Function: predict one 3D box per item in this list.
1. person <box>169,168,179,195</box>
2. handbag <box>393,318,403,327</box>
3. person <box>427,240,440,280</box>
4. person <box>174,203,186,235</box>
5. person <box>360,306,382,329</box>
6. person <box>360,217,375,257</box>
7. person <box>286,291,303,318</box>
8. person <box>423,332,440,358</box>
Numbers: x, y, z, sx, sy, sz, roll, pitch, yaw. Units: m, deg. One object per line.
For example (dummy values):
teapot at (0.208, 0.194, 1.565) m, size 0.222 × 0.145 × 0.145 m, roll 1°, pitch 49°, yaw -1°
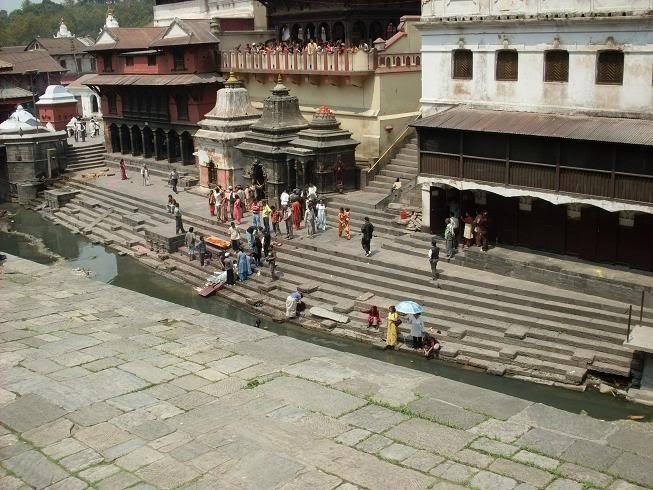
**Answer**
person at (-9.034, -3.725, 31.840) m, size 0.467 × 1.169 × 1.265 m, roll -6°, pitch 12°, yaw -18°
handbag at (2.247, 2.464, 17.208) m, size 0.241 × 0.141 × 0.285 m, roll -12°, pitch 4°, yaw -20°
person at (3.752, 0.523, 18.927) m, size 0.360 × 1.343 × 0.824 m, roll 0°, pitch 12°, yaw 10°
person at (-7.182, -1.331, 26.196) m, size 0.453 × 1.302 × 2.069 m, roll -5°, pitch 12°, yaw -15°
person at (1.579, 2.379, 18.095) m, size 0.453 × 0.675 × 0.529 m, roll -1°, pitch 12°, yaw 4°
person at (1.544, -0.380, 20.934) m, size 0.410 × 1.522 × 1.007 m, roll -1°, pitch 12°, yaw 4°
person at (-1.135, 2.136, 19.566) m, size 0.432 × 0.849 × 0.862 m, roll 9°, pitch 16°, yaw 41°
person at (3.247, 3.087, 16.623) m, size 0.522 × 0.694 × 0.404 m, roll -1°, pitch 12°, yaw 6°
